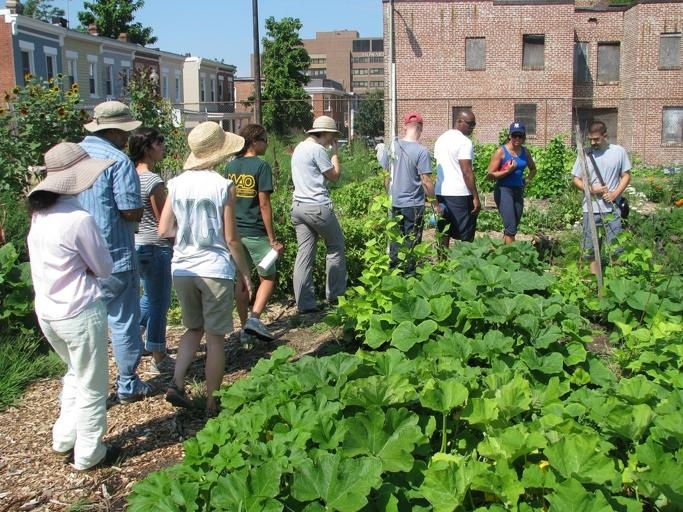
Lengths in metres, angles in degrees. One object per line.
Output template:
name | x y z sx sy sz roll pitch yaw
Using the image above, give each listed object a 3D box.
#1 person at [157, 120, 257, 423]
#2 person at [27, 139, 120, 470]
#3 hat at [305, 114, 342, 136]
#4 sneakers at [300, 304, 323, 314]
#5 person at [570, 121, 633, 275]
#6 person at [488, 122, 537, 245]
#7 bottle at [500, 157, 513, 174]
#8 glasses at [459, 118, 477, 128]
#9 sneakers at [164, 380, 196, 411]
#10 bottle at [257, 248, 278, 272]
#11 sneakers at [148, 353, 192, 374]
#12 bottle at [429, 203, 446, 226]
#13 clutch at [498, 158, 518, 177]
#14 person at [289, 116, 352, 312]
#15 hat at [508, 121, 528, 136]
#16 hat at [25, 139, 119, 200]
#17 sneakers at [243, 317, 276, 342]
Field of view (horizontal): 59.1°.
person | -1.027 0.082 4.543 0.681 2.112 0.841 -3 13 -10
person | -1.759 0.332 4.015 0.514 2.091 0.602 -8 15 -28
hat | -0.171 -1.408 6.548 0.276 0.138 0.279 3 4 34
sneakers | -0.319 0.589 6.614 0.105 0.067 0.172 -7 0 18
person | 3.004 -0.724 7.052 0.627 1.645 1.603 5 15 25
person | 2.120 -0.909 7.628 0.535 1.527 0.851 5 15 25
bottle | 2.062 -1.094 7.454 0.183 0.176 0.100 2 14 13
glasses | 1.497 -1.598 7.244 0.137 0.044 0.138 5 7 -39
sneakers | -1.208 1.052 4.553 0.116 0.131 0.279 -1 -25 19
bottle | -0.729 0.035 5.916 0.100 0.113 0.203 31 63 12
sneakers | -1.515 0.955 5.440 0.394 0.184 0.145 -9 16 -38
bottle | 1.160 -0.497 7.216 0.161 0.213 0.306 4 52 30
clutch | 2.061 -1.086 7.437 0.155 0.212 0.081 44 15 25
person | -0.251 -0.474 6.667 0.588 2.081 0.798 -1 13 -1
hat | 2.181 -1.585 7.478 0.153 0.111 0.222 9 -7 15
hat | -1.768 -0.569 3.973 0.416 0.170 0.409 -21 27 3
sneakers | -0.748 0.724 5.624 0.140 0.335 0.164 -28 43 15
